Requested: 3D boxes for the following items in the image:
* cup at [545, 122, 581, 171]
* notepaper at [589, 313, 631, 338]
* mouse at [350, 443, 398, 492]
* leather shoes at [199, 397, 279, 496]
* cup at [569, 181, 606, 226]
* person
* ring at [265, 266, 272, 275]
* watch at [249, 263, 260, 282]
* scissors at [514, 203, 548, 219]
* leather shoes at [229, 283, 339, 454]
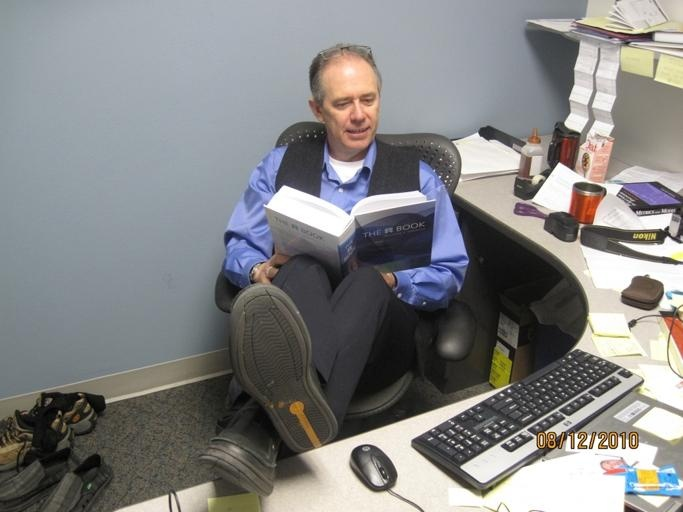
[{"bbox_3d":[0.877,-0.431,1.992,0.179,0.192,0.120,-6,12,-16],"label":"cup"},{"bbox_3d":[0.720,0.183,1.356,0.103,0.012,0.094,3,33,7],"label":"notepaper"},{"bbox_3d":[0.067,0.445,1.078,0.073,0.042,0.122,-7,14,-21],"label":"mouse"},{"bbox_3d":[-0.199,0.431,1.139,0.164,0.126,0.228,6,33,12],"label":"leather shoes"},{"bbox_3d":[0.843,-0.187,1.769,0.096,0.145,0.159,11,24,23],"label":"cup"},{"bbox_3d":[0.172,-0.003,1.597,0.691,0.880,0.736,0,1,-43],"label":"person"},{"bbox_3d":[-0.234,0.044,1.626,0.013,0.016,0.018,0,18,2],"label":"ring"},{"bbox_3d":[-0.291,0.054,1.674,0.019,0.049,0.038,21,-4,-19],"label":"watch"},{"bbox_3d":[0.698,-0.173,1.853,0.096,0.024,0.058,15,55,16],"label":"scissors"},{"bbox_3d":[-0.134,0.272,1.166,0.151,0.354,0.256,-26,8,-2],"label":"leather shoes"}]
